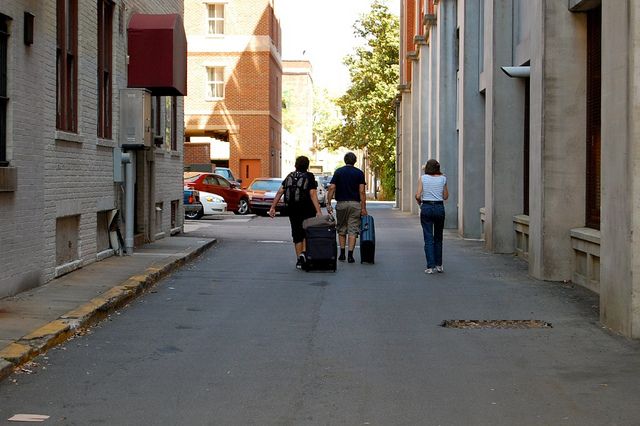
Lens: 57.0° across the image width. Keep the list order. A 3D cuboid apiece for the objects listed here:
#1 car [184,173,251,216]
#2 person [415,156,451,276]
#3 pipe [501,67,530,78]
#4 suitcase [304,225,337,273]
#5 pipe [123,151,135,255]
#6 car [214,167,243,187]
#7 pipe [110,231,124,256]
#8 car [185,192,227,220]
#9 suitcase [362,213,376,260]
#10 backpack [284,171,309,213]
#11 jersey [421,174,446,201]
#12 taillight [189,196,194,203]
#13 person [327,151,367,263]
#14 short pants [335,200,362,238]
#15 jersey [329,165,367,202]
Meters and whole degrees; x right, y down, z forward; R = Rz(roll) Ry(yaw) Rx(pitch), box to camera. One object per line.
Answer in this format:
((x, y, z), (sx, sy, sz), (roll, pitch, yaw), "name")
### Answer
((-4.853, -0.990, 28.649), (1.433, 1.176, 3.015), (3, 1, 37), "car")
((2.304, 0.078, 11.999), (0.604, 2.308, 0.819), (3, 4, 25), "person")
((4.493, -3.222, 13.385), (0.586, 0.205, 0.574), (3, 5, 14), "pipe")
((0.034, 0.852, 12.281), (0.685, 1.035, 0.567), (1, -27, -2), "suitcase")
((-4.298, -0.107, 13.175), (0.202, 2.011, 0.444), (0, 4, -20), "pipe")
((-5.391, -2.114, 34.208), (0.960, 0.871, 1.662), (0, -3, 0), "car")
((-4.539, 0.652, 13.031), (0.252, 0.506, 0.138), (0, 4, -22), "pipe")
((-5.125, -0.315, 26.563), (1.911, 1.216, 1.764), (-1, 5, -28), "car")
((1.109, 0.569, 13.317), (0.368, 0.713, 1.010), (0, 5, 1), "suitcase")
((-0.499, -0.469, 12.632), (0.530, 0.856, 0.325), (1, 4, -4), "backpack")
((2.350, -0.487, 12.053), (0.517, 0.628, 0.329), (4, -11, 15), "jersey")
((-5.432, -0.580, 24.797), (0.069, 0.262, 0.227), (5, 5, 41), "taillight")
((0.624, -0.129, 13.509), (0.855, 2.549, 1.421), (1, 4, 3), "person")
((0.665, 0.088, 13.604), (0.610, 0.917, 0.541), (3, 12, 19), "short pants")
((0.696, -0.667, 13.529), (0.829, 0.878, 0.477), (4, -2, 18), "jersey")
